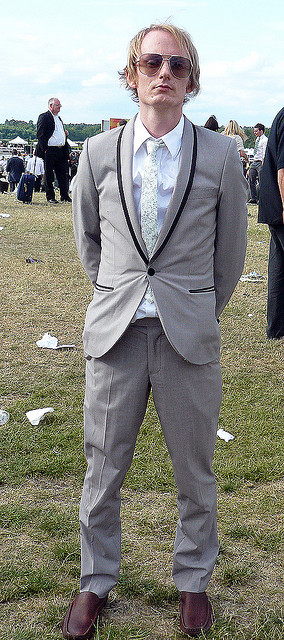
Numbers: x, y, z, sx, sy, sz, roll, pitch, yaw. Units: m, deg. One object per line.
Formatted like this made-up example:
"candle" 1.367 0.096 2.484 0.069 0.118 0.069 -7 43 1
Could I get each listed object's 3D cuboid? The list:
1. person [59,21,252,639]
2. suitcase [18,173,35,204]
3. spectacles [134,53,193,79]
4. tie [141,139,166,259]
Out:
"person" 0.054 0.032 1.929 0.599 1.923 0.505 1 9 -5
"suitcase" -2.817 -3.217 14.157 0.394 0.735 0.556 0 9 -13
"spectacles" 0.066 -0.766 1.748 0.103 0.047 0.104 1 -7 -7
"tie" 0.030 -0.375 1.786 0.069 0.358 0.096 3 9 6
